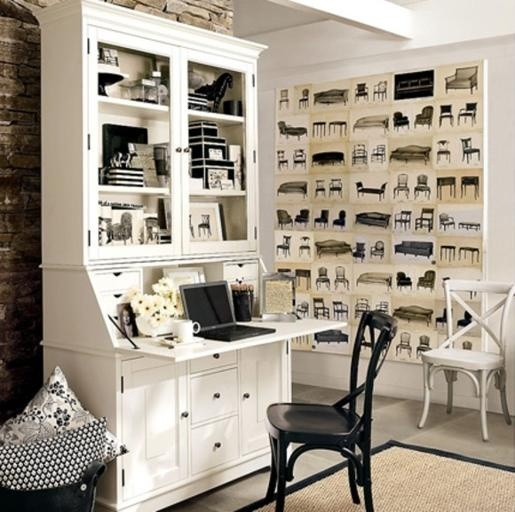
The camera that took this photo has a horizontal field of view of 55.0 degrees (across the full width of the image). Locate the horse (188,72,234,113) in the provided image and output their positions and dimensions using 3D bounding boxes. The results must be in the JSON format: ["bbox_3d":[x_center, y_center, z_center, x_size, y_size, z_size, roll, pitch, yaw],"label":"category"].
[{"bbox_3d":[-0.271,-0.835,2.563,0.324,0.203,0.083,-14,34,-26],"label":"horse"}]

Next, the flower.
[{"bbox_3d":[-0.452,0.198,2.173,0.264,0.128,0.161,0,0,-17],"label":"flower"}]

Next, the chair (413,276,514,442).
[{"bbox_3d":[1.404,0.640,3.317,0.572,1.037,0.687,0,0,27],"label":"chair"}]

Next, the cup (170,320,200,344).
[{"bbox_3d":[-0.300,0.328,2.093,0.072,0.085,0.117,-2,-6,35],"label":"cup"}]

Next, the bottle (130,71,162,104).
[{"bbox_3d":[-0.534,-0.777,2.310,0.098,0.167,0.161,3,3,42],"label":"bottle"}]

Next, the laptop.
[{"bbox_3d":[-0.141,0.250,2.297,0.337,0.218,0.389,3,1,27],"label":"laptop"}]

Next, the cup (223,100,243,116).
[{"bbox_3d":[-0.131,-0.794,2.647,0.091,0.069,0.091,0,6,0],"label":"cup"}]
